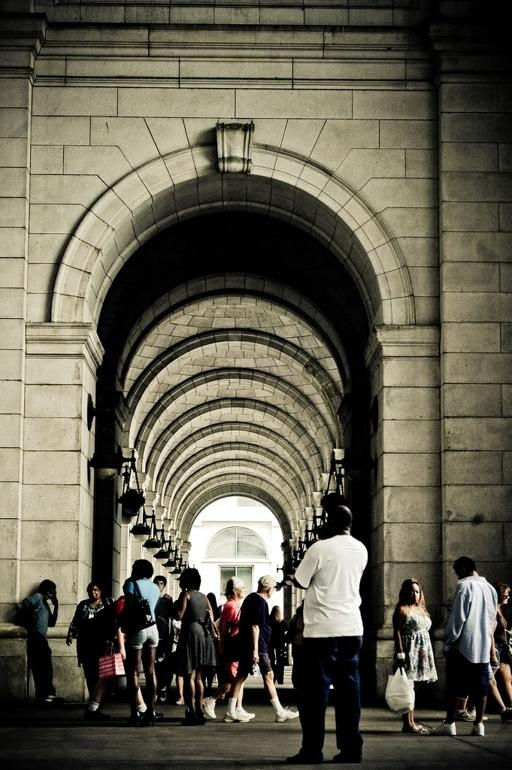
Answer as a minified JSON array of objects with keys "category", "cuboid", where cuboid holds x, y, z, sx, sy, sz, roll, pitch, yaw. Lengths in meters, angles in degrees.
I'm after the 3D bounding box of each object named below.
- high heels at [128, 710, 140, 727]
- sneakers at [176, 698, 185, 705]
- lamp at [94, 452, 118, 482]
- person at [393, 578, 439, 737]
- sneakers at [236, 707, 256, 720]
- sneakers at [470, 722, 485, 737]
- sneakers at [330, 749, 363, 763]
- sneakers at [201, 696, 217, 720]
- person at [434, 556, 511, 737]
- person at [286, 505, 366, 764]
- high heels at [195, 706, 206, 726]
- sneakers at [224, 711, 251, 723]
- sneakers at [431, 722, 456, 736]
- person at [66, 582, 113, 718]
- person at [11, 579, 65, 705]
[{"category":"high heels","cuboid":[-1.121,3.055,14.184,0.090,0.144,0.107,6,-16,-12]},{"category":"sneakers","cuboid":[-0.873,3.704,18.062,0.088,0.097,0.195,-5,-16,4]},{"category":"lamp","cuboid":[-1.797,0.984,18.560,0.234,0.292,0.279,0,-9,-12]},{"category":"person","cuboid":[1.416,2.239,13.997,0.398,0.950,0.374,0,-8,-13]},{"category":"sneakers","cuboid":[-0.098,3.274,15.370,0.087,0.132,0.251,2,-6,26]},{"category":"sneakers","cuboid":[1.937,2.960,13.301,0.069,0.130,0.130,3,1,7]},{"category":"sneakers","cuboid":[0.677,2.709,11.360,0.227,0.137,0.093,-4,-8,7]},{"category":"sneakers","cuboid":[-0.472,3.254,15.768,0.148,0.311,0.088,-10,4,2]},{"category":"person","cuboid":[1.886,2.286,13.638,0.479,1.572,0.697,-5,-8,23]},{"category":"person","cuboid":[0.547,1.842,11.497,0.605,1.899,0.375,-1,-7,-4]},{"category":"high heels","cuboid":[-0.537,3.186,14.883,0.086,0.141,0.305,1,-31,-2]},{"category":"sneakers","cuboid":[-0.178,3.264,15.174,0.227,0.140,0.107,3,-2,-12]},{"category":"sneakers","cuboid":[1.652,2.992,13.468,0.224,0.139,0.099,-1,-8,20]},{"category":"person","cuboid":[-1.673,2.627,15.478,0.447,1.346,2.581,-1,-10,-8]},{"category":"person","cuboid":[-2.354,2.800,16.548,0.310,1.157,0.421,-11,-41,-3]}]
